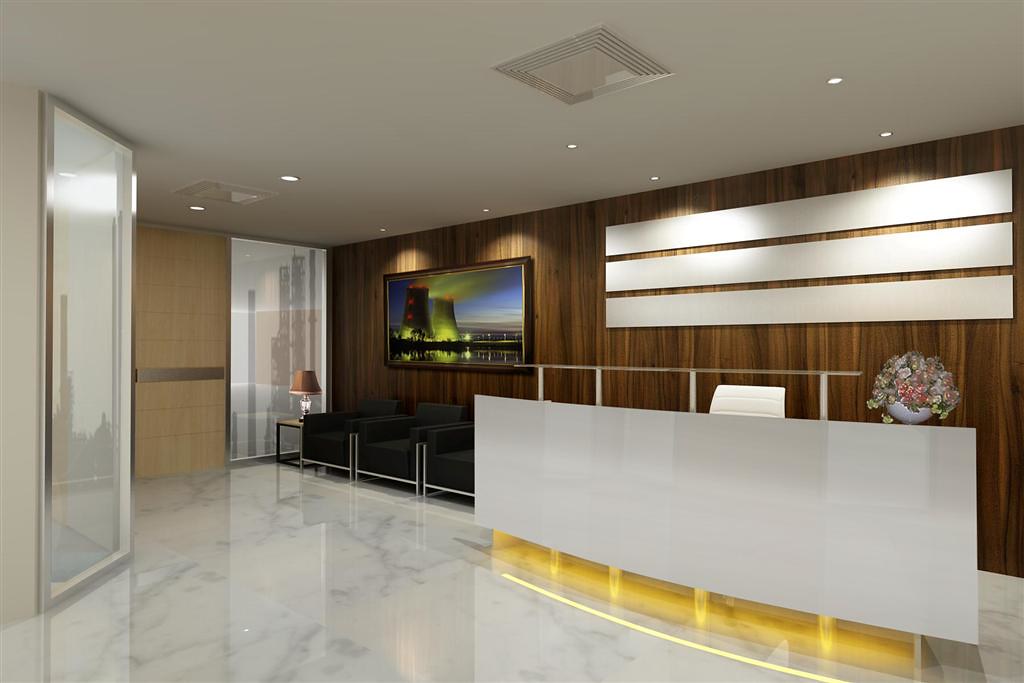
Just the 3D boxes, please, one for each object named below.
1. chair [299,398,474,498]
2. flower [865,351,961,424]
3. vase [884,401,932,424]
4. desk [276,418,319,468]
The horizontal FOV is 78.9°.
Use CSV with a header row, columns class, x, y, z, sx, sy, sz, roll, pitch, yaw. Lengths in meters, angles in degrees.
class,x,y,z,sx,sy,sz,roll,pitch,yaw
chair,-1.317,1.288,8.072,3.065,0.948,1.186,3,5,36
flower,2.613,0.283,4.362,0.603,0.605,0.579,-1,2,-5
vase,2.660,0.483,4.245,0.204,0.116,0.205,1,-5,10
desk,-3.148,1.352,9.059,0.602,0.550,0.480,-3,0,-26
